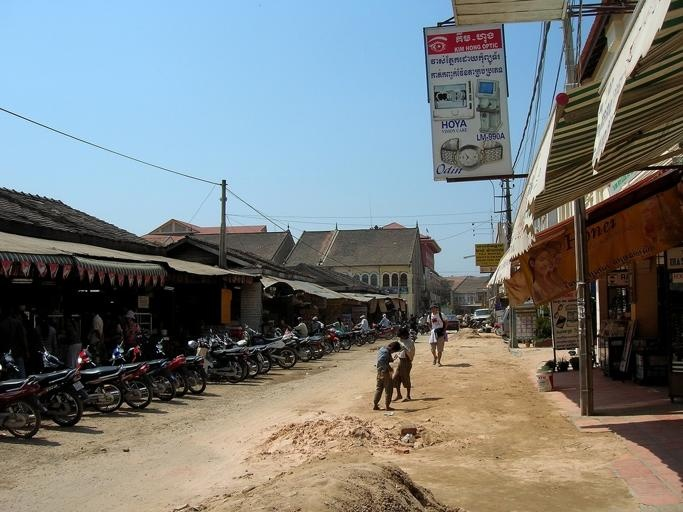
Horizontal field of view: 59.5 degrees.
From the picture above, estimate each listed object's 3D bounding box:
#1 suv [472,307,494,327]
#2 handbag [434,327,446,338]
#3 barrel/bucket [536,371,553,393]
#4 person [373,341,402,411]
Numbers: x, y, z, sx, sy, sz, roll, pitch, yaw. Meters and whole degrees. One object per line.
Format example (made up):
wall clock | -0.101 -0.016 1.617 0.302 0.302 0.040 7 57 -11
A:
suv | 13.784 5.995 57.671 2.051 1.601 3.257 -3 -14 7
handbag | 3.351 2.624 20.262 0.391 0.325 0.131 -2 -8 2
barrel/bucket | 4.955 3.057 14.456 0.354 0.480 0.412 -4 -8 13
person | 1.051 2.664 13.449 0.671 1.423 1.911 -3 -8 5
